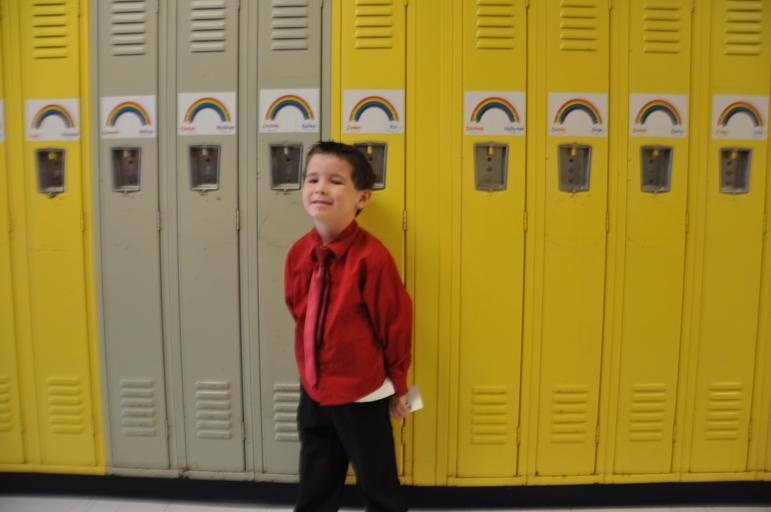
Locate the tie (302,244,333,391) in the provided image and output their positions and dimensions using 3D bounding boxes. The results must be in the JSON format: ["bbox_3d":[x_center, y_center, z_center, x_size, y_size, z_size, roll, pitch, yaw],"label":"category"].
[{"bbox_3d":[-0.400,0.348,4.993,0.145,0.793,0.106,0,2,38],"label":"tie"}]
